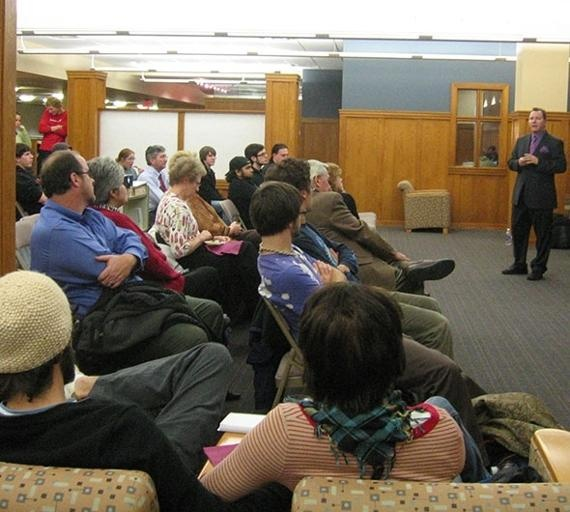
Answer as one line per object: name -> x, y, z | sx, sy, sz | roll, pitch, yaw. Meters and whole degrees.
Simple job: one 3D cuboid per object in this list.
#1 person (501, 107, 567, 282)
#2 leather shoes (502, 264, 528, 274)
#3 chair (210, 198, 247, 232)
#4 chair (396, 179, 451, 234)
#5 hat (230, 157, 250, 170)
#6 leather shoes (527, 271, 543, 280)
person -> 3.653, -0.928, 6.627 | 0.735, 2.426, 1.046 | 6, 13, 27
leather shoes -> 3.473, 0.202, 6.801 | 0.436, 0.195, 0.148 | 2, 2, 1
chair -> -0.672, -0.429, 5.404 | 0.556, 0.408, 0.384 | 1, -33, -14
chair -> 3.378, -1.268, 11.422 | 1.282, 1.249, 1.245 | 0, 6, 4
hat -> -0.569, -1.168, 5.724 | 0.220, 0.176, 0.156 | -6, 7, -2
leather shoes -> 3.580, 0.271, 6.409 | 0.130, 0.108, 0.320 | -1, -1, 19
